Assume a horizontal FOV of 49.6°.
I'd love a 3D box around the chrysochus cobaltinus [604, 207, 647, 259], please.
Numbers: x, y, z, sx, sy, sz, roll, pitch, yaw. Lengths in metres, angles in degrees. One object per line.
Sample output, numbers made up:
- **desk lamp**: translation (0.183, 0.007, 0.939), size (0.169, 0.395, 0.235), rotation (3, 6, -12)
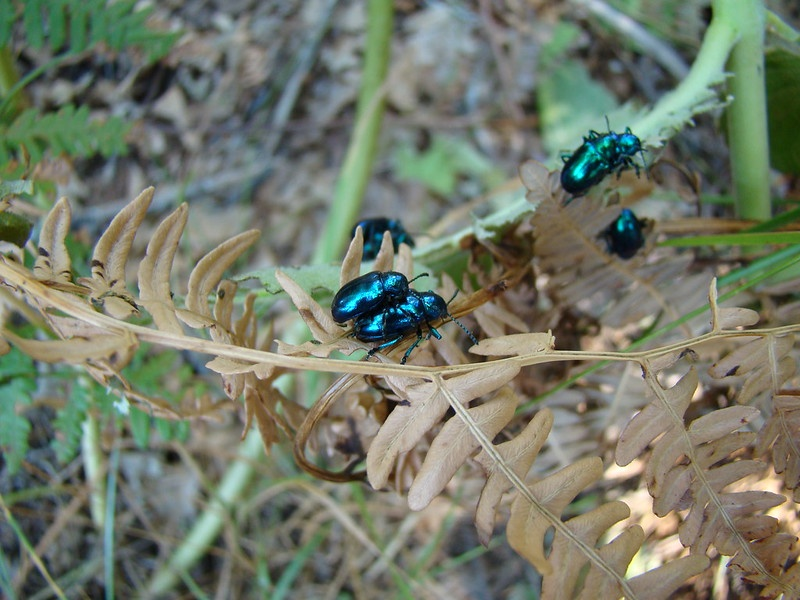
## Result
- **chrysochus cobaltinus**: translation (0.864, -0.240, 3.309), size (0.136, 0.057, 0.204), rotation (13, 89, -14)
